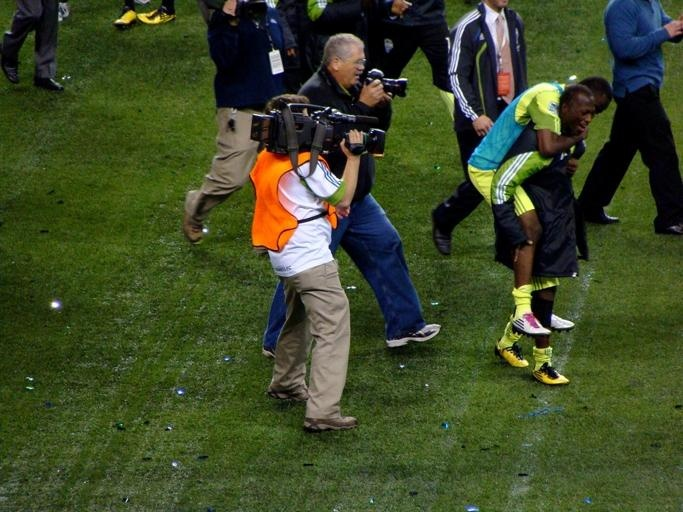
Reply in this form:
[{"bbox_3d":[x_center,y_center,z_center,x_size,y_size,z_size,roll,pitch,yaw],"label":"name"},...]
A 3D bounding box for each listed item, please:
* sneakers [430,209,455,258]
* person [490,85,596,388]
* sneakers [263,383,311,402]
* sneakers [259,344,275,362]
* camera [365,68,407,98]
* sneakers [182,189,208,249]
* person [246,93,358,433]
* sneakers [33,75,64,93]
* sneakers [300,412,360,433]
[{"bbox_3d":[0.942,-0.225,11.103,0.158,0.431,0.184,-14,9,-21],"label":"sneakers"},{"bbox_3d":[1.597,-0.169,9.434,0.818,2.082,1.293,0,33,16],"label":"person"},{"bbox_3d":[-0.420,1.059,9.253,0.364,0.114,0.161,-2,2,2],"label":"sneakers"},{"bbox_3d":[-0.600,0.785,9.733,0.177,0.075,0.058,14,21,33],"label":"sneakers"},{"bbox_3d":[0.340,-1.333,9.365,0.296,0.176,0.263,0,25,-22],"label":"camera"},{"bbox_3d":[-1.348,-0.334,10.720,0.187,0.466,0.205,-9,18,-29],"label":"sneakers"},{"bbox_3d":[-0.231,0.215,8.877,0.955,1.971,1.189,-5,32,9],"label":"person"},{"bbox_3d":[-3.270,-1.915,13.228,0.401,0.160,0.130,12,46,-5],"label":"sneakers"},{"bbox_3d":[-0.088,1.242,8.958,0.426,0.192,0.141,-5,16,-5],"label":"sneakers"}]
